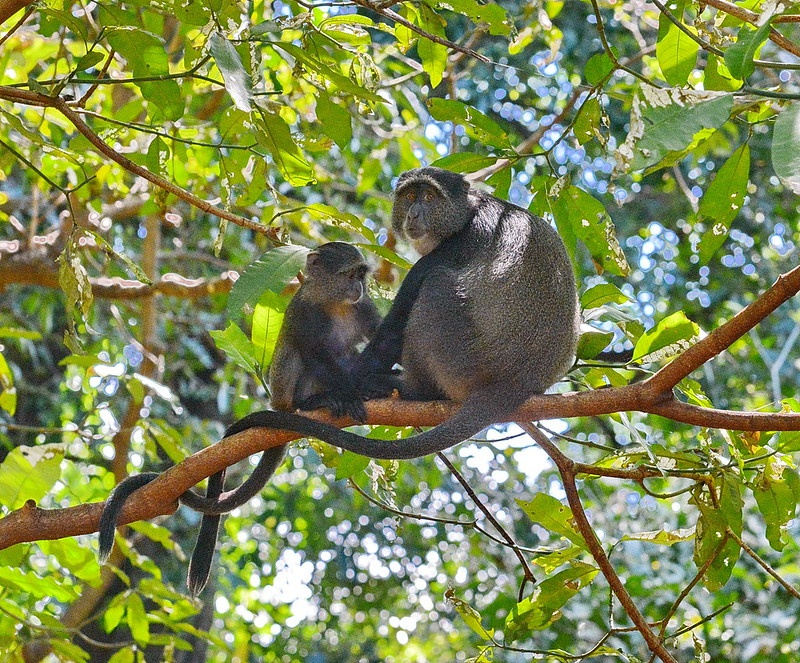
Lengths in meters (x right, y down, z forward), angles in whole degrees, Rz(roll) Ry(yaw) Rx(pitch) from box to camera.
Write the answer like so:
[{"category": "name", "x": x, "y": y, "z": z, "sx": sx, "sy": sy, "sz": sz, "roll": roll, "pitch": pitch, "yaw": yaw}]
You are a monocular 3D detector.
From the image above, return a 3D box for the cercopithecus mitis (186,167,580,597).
[{"category": "cercopithecus mitis", "x": 0.268, "y": -0.114, "z": 5.973, "sx": 1.431, "sy": 2.122, "sz": 0.767, "roll": -15, "pitch": -53, "yaw": 8}]
